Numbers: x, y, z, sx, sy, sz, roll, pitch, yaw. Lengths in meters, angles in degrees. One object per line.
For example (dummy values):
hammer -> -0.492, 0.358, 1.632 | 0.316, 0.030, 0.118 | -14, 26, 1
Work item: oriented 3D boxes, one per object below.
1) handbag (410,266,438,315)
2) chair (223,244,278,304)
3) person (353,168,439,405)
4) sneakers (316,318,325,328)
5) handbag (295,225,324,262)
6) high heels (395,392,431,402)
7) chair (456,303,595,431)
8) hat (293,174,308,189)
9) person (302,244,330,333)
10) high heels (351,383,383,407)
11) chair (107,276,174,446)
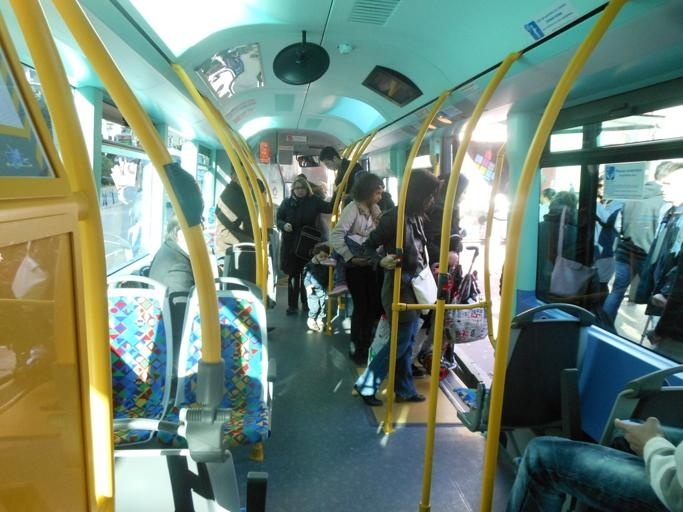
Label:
handbag -> 0.612, 0.257, 3.721 | 0.114, 0.299, 0.306 | -11, 19, 33
chair -> -1.012, 0.285, 5.159 | 0.474, 0.772, 0.504 | 11, -33, -32
person -> 0.467, 0.306, 3.944 | 0.652, 1.995, 0.622 | -2, 10, -14
sneakers -> -0.278, 0.853, 6.201 | 0.083, 0.126, 0.043 | 2, -15, -21
handbag -> -0.439, -0.161, 6.375 | 0.315, 0.478, 0.249 | 13, 11, -6
high heels -> 0.617, 1.223, 4.245 | 0.269, 0.121, 0.095 | -3, 8, -4
chair -> 1.165, 0.682, 3.178 | 0.666, 0.989, 0.838 | 2, 1, -7
hat -> -0.567, -1.025, 6.604 | 0.144, 0.189, 0.202 | -1, -6, -3
person -> -0.304, 0.383, 6.103 | 0.296, 1.096, 0.391 | -1, 10, -7
high heels -> 0.201, 1.182, 4.186 | 0.318, 0.145, 0.115 | 6, 8, 27
chair -> -1.240, 0.542, 3.004 | 0.371, 0.802, 0.526 | -2, 10, -13
